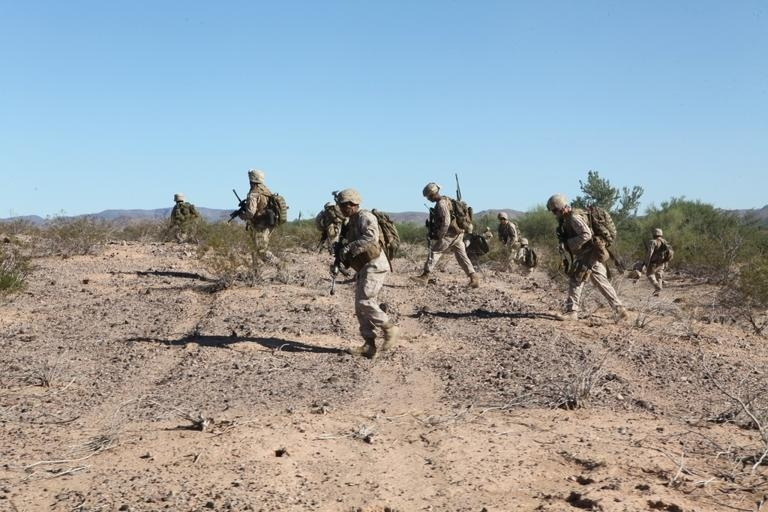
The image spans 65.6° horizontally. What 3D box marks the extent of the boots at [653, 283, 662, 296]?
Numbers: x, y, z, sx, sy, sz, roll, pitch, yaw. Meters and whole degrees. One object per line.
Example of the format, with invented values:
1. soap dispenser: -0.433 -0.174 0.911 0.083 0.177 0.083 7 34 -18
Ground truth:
1. boots: 6.619 0.808 14.387 0.085 0.197 0.277 -4 -7 13

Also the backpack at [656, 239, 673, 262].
1. backpack: 7.128 -0.131 15.075 0.362 0.552 0.304 3 1 40

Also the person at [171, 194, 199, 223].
1. person: -7.095 -1.660 21.111 0.873 1.038 2.063 1 1 -20
